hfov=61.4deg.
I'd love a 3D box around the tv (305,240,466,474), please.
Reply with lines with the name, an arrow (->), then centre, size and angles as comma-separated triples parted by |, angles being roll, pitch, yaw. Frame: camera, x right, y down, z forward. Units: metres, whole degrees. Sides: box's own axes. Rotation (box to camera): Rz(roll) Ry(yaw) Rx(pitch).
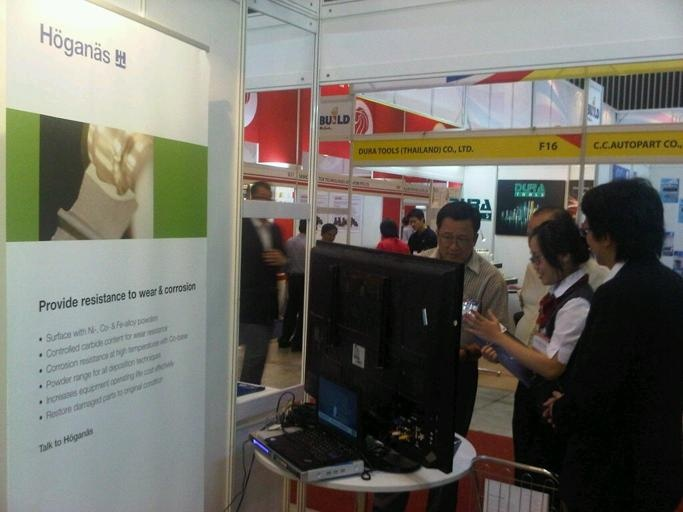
tv -> 0.142, 0.390, 2.100 | 0.094, 0.733, 0.721 | -6, 11, -38
